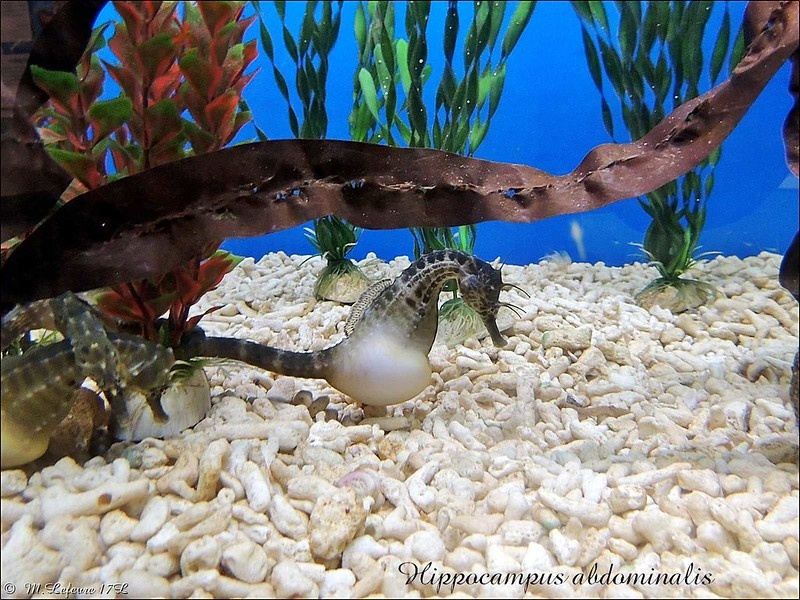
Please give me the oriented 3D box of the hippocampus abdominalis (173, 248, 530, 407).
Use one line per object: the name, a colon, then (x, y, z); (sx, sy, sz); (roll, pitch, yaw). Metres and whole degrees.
hippocampus abdominalis: (-0.129, 0.097, 1.689); (0.911, 0.420, 0.237); (-9, 27, -10)
